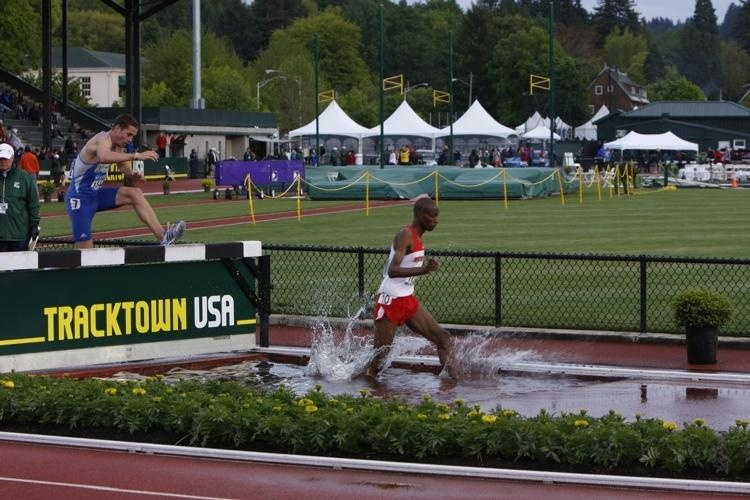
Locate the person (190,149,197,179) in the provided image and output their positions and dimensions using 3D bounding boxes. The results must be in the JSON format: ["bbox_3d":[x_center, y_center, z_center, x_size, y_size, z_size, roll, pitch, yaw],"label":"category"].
[{"bbox_3d":[-9.526,-4.379,66.616,0.427,1.381,1.844,-1,3,-9],"label":"person"}]

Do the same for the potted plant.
[{"bbox_3d":[5.697,1.314,22.261,1.065,1.380,1.226,1,0,14],"label":"potted plant"}]

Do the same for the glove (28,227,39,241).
[{"bbox_3d":[-6.311,-0.294,23.492,0.183,0.259,0.256,2,-3,1],"label":"glove"}]
